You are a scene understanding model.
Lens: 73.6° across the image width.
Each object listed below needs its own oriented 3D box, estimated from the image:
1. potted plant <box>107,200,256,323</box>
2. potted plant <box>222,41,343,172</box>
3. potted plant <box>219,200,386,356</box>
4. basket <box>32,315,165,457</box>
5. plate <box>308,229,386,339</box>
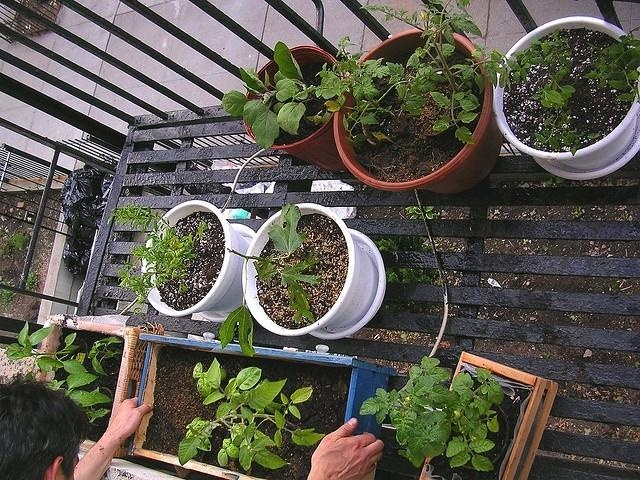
[{"bbox_3d":[-0.469,0.068,1.612,0.461,0.491,0.357,-19,-19,25],"label":"potted plant"},{"bbox_3d":[-0.094,-0.443,1.506,0.372,0.413,0.311,-6,-6,31],"label":"potted plant"},{"bbox_3d":[-0.030,0.122,1.427,0.564,0.385,0.365,5,2,-13],"label":"potted plant"},{"bbox_3d":[-0.791,0.512,1.621,0.470,0.484,0.147,2,-2,21],"label":"basket"},{"bbox_3d":[0.117,0.168,1.457,0.335,0.345,0.123,-12,-23,35],"label":"plate"}]
